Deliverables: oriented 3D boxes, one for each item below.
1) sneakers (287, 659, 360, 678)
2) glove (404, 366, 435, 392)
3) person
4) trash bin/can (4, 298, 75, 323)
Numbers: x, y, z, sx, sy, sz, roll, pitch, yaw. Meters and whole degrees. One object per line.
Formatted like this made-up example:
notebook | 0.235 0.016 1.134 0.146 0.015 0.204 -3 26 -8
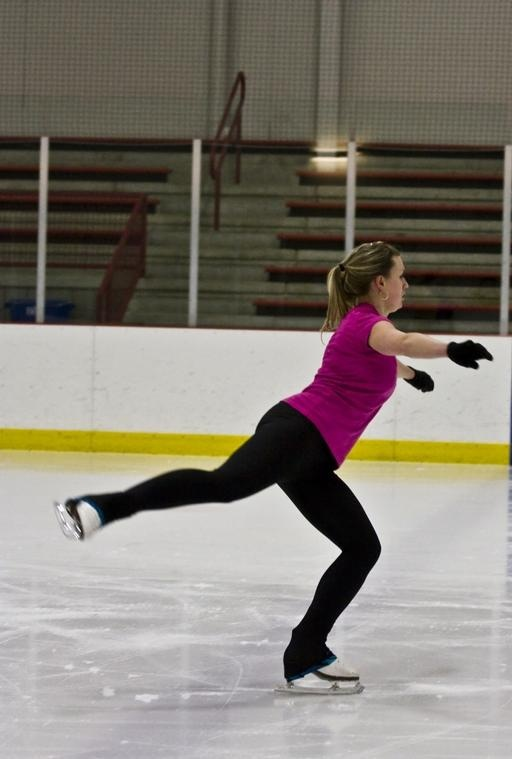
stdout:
sneakers | 0.212 0.919 3.593 0.217 0.073 0.074 -3 -1 6
glove | 0.542 0.007 3.779 0.118 0.064 0.035 30 -34 -11
person | 0.070 0.277 3.547 1.026 1.421 0.675 1 5 -6
trash bin/can | -1.710 -0.573 9.497 0.707 0.210 0.192 -1 3 5
